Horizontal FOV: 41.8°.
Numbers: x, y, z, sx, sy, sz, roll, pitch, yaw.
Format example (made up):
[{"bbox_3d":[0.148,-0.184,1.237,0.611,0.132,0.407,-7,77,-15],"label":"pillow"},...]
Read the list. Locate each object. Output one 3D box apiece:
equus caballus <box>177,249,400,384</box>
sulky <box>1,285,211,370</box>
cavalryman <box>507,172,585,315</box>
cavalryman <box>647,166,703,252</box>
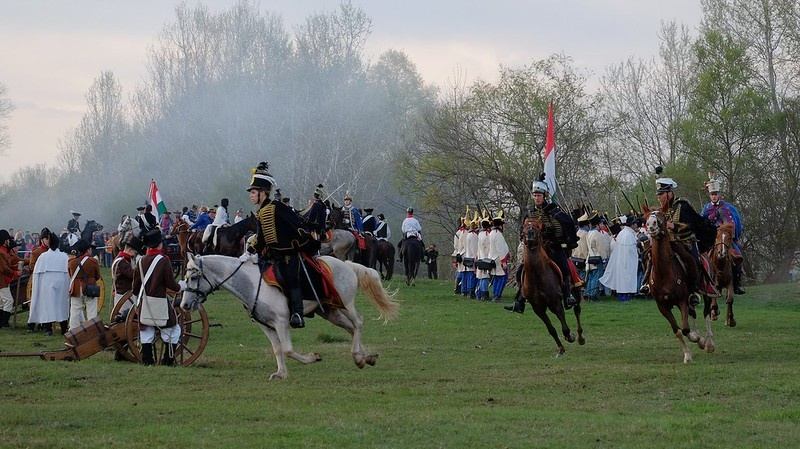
[{"bbox_3d":[-3.869,3.316,39.984,9.114,4.745,2.435,-4,-7,-28],"label":"equus caballus"},{"bbox_3d":[-10.841,3.969,40.315,6.020,2.622,3.559,3,-7,-19],"label":"sulky"},{"bbox_3d":[6.049,0.419,42.405,2.943,6.817,1.797,0,-2,32],"label":"cavalryman"},{"bbox_3d":[10.947,-0.501,41.628,1.784,2.971,1.725,2,1,25],"label":"cavalryman"}]
